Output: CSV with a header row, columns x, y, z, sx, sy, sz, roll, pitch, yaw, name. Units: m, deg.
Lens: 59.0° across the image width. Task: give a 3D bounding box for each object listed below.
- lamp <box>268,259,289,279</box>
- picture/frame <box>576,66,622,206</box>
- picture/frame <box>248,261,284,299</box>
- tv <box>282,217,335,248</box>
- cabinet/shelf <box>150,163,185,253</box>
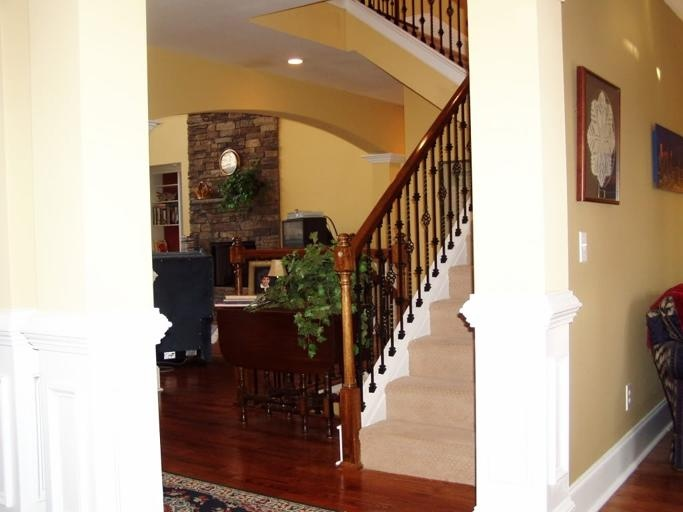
x,y,z,sx,sy,sz,roll,pitch,yaw,name
-0.568,0.105,5.259,0.198,0.201,0.196,1,-1,11,lamp
1.289,-0.598,3.035,0.046,0.714,0.702,0,-3,36,picture/frame
-1.180,0.387,9.335,0.691,0.652,0.073,-1,-3,38,picture/frame
-0.505,-0.371,9.032,0.549,0.391,0.553,0,-1,-40,tv
-3.477,-0.978,12.192,0.950,1.716,0.522,0,2,34,cabinet/shelf
